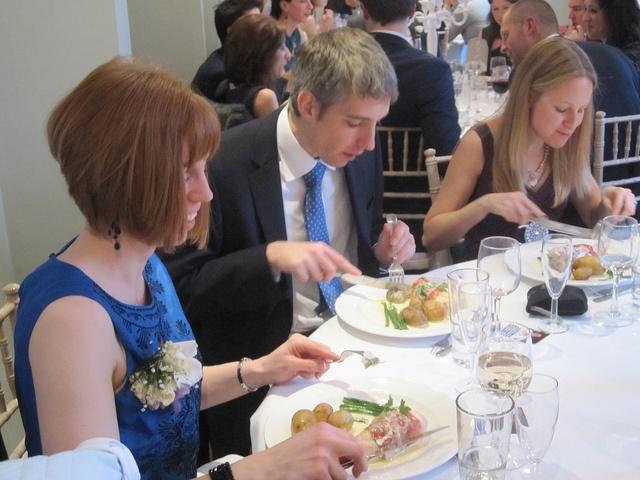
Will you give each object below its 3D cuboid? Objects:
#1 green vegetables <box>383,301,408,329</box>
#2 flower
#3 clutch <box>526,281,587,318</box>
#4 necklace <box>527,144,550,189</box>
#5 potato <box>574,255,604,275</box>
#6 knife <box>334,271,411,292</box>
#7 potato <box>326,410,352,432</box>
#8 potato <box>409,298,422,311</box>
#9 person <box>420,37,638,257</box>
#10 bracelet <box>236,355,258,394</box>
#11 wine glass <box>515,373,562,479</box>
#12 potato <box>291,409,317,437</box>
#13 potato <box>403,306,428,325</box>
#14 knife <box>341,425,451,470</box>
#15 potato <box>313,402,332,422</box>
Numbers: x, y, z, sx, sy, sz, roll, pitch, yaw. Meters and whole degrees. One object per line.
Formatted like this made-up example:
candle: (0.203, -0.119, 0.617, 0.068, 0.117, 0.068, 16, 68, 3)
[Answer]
green vegetables: (0.240, 0.248, 1.818, 0.045, 0.023, 0.077, 1, 42, -10)
flower: (-0.396, 0.351, 1.453, 0.082, 0.180, 0.167, 29, 46, 13)
clutch: (0.772, 0.197, 1.847, 0.113, 0.043, 0.124, -1, 30, 8)
necklace: (1.089, -0.361, 2.845, 0.107, 0.210, 0.022, 20, 2, 28)
potato: (0.960, 0.089, 2.009, 0.076, 0.040, 0.069, -2, 14, -15)
knife: (0.184, 0.158, 2.066, 0.240, 0.031, 0.029, 19, 10, 14)
potato: (0.045, 0.455, 1.418, 0.052, 0.046, 0.042, 11, 15, 4)
potato: (0.314, 0.215, 1.856, 0.032, 0.035, 0.034, -1, 1, -19)
person: (0.983, -0.461, 2.742, 0.917, 0.956, 0.518, -10, 8, -23)
bracelet: (-0.237, 0.422, 1.749, 0.022, 0.092, 0.089, -11, 27, 9)
wine glass: (0.498, 0.414, 1.294, 0.089, 0.200, 0.181, -3, 8, 23)
potato: (-0.044, 0.457, 1.417, 0.054, 0.056, 0.067, -31, -9, -10)
potato: (0.303, 0.248, 1.798, 0.064, 0.039, 0.052, 32, 59, 20)
knife: (0.178, 0.495, 1.327, 0.259, 0.042, 0.023, -16, 3, -9)
potato: (0.006, 0.446, 1.449, 0.036, 0.041, 0.047, 0, -18, -12)
